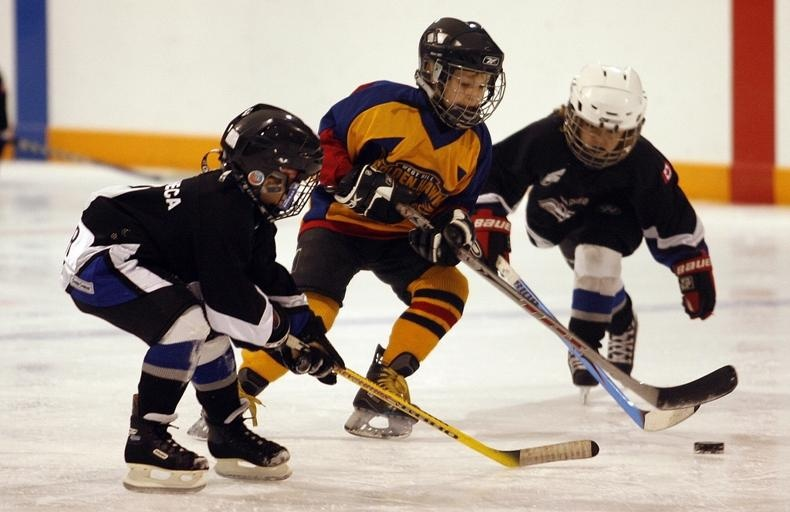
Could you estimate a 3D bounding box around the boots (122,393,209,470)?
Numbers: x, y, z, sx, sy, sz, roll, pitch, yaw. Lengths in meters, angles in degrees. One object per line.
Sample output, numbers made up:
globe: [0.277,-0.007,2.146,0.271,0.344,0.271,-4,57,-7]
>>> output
boots: [-0.766,0.602,3.223,0.336,0.247,0.117,4,4,25]

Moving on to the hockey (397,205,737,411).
hockey: [0.737,0.247,4.169,1.516,0.298,0.167,29,35,18]

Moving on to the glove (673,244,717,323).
glove: [1.285,0.123,4.041,0.194,0.252,0.172,-15,-9,4]

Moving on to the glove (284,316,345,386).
glove: [-0.287,0.334,3.386,0.248,0.087,0.182,41,46,-2]

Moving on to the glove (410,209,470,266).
glove: [0.154,-0.089,3.742,0.238,0.214,0.111,11,-33,-38]

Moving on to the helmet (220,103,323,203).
helmet: [-0.467,-0.330,3.374,0.397,0.341,0.297,10,7,-39]

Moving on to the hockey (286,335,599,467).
hockey: [0.180,0.581,3.738,0.902,0.128,0.118,22,-28,12]

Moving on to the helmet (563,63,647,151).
helmet: [0.770,-0.624,3.912,0.298,0.331,0.361,11,28,-10]

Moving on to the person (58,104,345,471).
person: [-0.637,0.101,3.292,0.959,1.264,0.358,3,9,-18]

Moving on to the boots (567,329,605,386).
boots: [0.797,0.457,3.992,0.101,0.303,0.136,-6,-7,14]

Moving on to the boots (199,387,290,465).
boots: [-0.514,0.593,3.346,0.380,0.305,0.139,-5,1,40]

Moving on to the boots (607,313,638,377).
boots: [1.023,0.398,4.251,0.114,0.310,0.130,1,7,27]

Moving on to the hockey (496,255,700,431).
hockey: [0.890,0.402,4.188,0.113,0.153,0.886,-30,58,-23]

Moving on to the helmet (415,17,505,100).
helmet: [0.255,-0.777,3.830,0.300,0.328,0.381,0,5,-38]

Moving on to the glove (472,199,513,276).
glove: [0.421,-0.073,4.011,0.124,0.336,0.158,5,-7,-35]

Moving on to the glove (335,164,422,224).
glove: [-0.087,-0.231,3.731,0.302,0.120,0.178,26,40,1]
